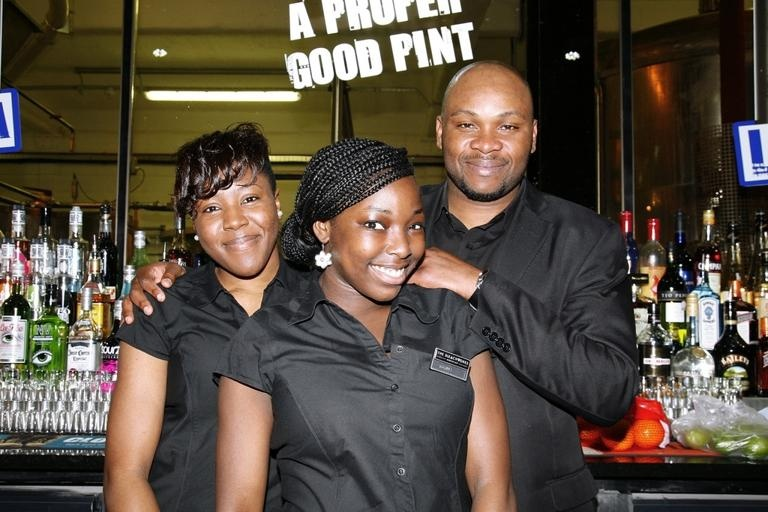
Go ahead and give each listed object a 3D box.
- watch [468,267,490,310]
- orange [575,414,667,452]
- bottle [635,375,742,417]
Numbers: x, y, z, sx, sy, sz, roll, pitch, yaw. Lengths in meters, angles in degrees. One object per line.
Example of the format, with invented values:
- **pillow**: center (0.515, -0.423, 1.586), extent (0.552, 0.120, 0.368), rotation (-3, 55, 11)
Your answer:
- **watch**: center (0.305, 0.109, 2.091), extent (0.043, 0.108, 0.095), rotation (20, 20, 10)
- **orange**: center (0.981, 0.732, 2.601), extent (0.256, 0.084, 0.203), rotation (0, -8, -8)
- **bottle**: center (1.327, 0.613, 2.762), extent (0.473, 0.181, 0.138), rotation (-1, -5, -3)
